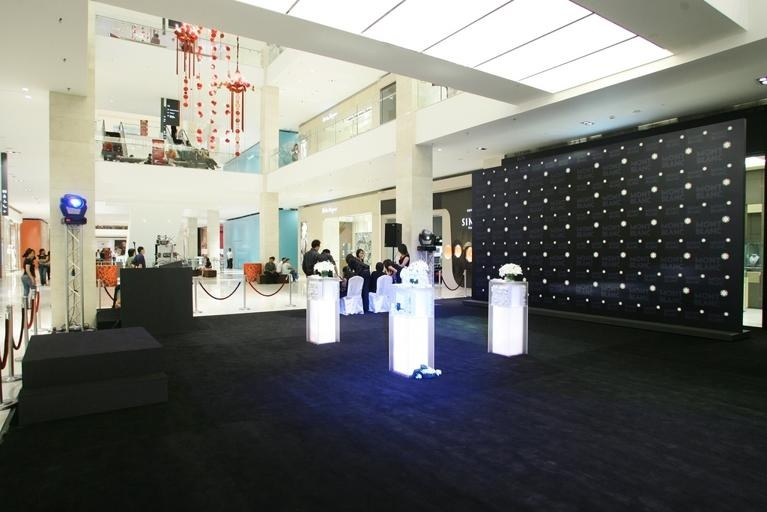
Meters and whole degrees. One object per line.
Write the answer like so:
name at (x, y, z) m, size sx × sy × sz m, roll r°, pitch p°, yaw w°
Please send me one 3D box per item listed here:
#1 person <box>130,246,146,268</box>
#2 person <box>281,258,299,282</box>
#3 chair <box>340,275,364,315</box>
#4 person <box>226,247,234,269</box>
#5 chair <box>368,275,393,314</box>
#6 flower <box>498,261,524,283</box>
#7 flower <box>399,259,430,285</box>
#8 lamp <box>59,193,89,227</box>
person at (-7.738, 0.006, 15.221) m, size 0.347 × 0.629 × 1.627 m, roll -5°, pitch 12°, yaw -28°
person at (-4.262, 0.618, 21.935) m, size 0.735 × 1.422 × 0.867 m, roll -5°, pitch 7°, yaw -28°
chair at (-0.815, 1.002, 12.535) m, size 0.622 × 1.040 × 0.396 m, roll -3°, pitch 10°, yaw -13°
person at (-10.916, 0.124, 34.306) m, size 0.504 × 1.193 × 1.582 m, roll -3°, pitch 11°, yaw -18°
chair at (-0.069, 0.986, 12.836) m, size 0.609 × 1.020 × 0.447 m, roll 0°, pitch 10°, yaw -1°
flower at (2.775, 0.322, 10.365) m, size 0.491 × 0.376 × 0.507 m, roll 0°, pitch 1°, yaw -12°
flower at (0.531, 0.263, 7.895) m, size 0.438 × 0.371 × 0.300 m, roll 2°, pitch 10°, yaw 8°
lamp at (-6.667, -1.007, 10.407) m, size 0.502 × 0.667 × 0.401 m, roll -7°, pitch 13°, yaw -35°
